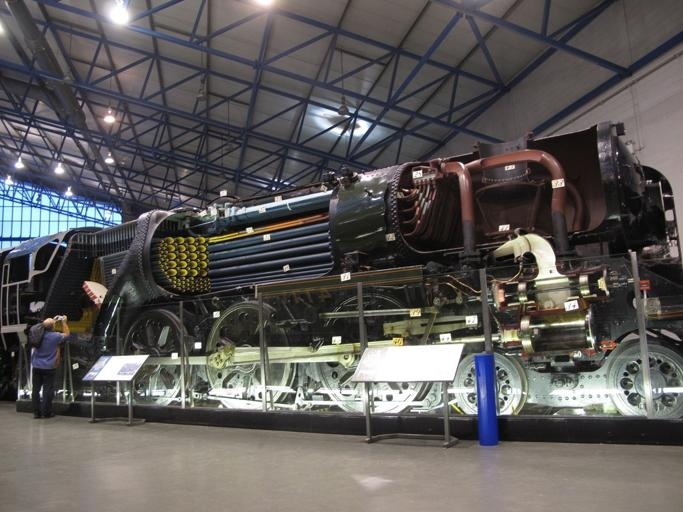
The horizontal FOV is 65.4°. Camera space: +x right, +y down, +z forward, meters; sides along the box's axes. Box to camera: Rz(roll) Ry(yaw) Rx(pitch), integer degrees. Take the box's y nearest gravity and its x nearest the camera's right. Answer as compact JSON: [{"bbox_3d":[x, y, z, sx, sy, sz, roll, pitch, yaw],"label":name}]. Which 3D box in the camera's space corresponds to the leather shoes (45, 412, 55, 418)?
[{"bbox_3d":[-5.221,2.855,9.538,0.056,0.092,0.162,6,9,36],"label":"leather shoes"}]

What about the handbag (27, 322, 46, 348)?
[{"bbox_3d":[-5.364,1.414,9.453,0.388,0.396,0.164,1,-8,18],"label":"handbag"}]
